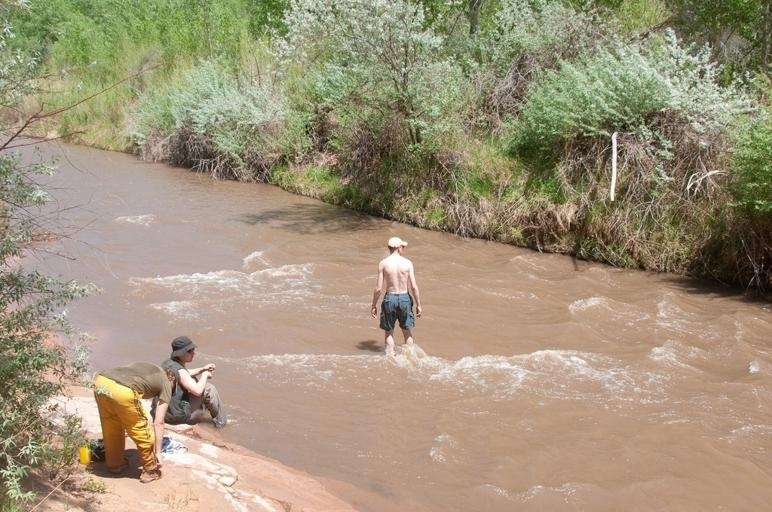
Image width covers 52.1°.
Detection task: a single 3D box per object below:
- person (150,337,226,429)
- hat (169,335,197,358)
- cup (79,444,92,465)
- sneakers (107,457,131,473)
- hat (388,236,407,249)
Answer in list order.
[{"bbox_3d":[-3.047,2.039,12.248,1.156,1.542,0.744,-14,19,-39],"label":"person"},{"bbox_3d":[-2.986,1.358,11.624,0.318,0.332,0.174,2,11,-15],"label":"hat"},{"bbox_3d":[-4.170,2.751,10.947,0.141,0.280,0.138,4,11,-1],"label":"cup"},{"bbox_3d":[-3.713,2.941,11.060,0.153,0.228,0.327,5,10,4],"label":"sneakers"},{"bbox_3d":[0.225,-0.206,14.499,0.308,0.163,0.232,-10,16,-24],"label":"hat"}]
